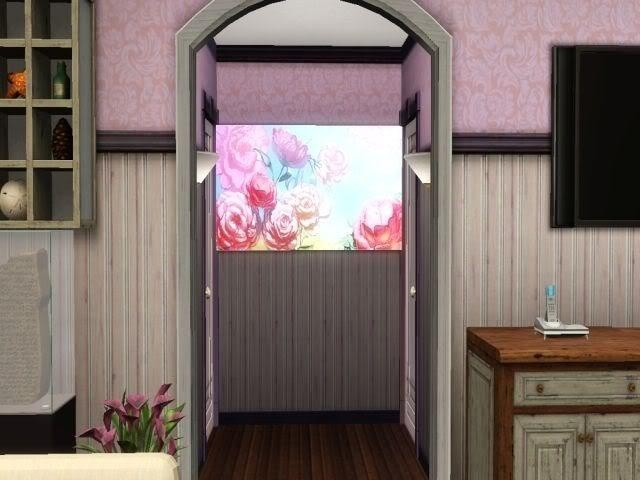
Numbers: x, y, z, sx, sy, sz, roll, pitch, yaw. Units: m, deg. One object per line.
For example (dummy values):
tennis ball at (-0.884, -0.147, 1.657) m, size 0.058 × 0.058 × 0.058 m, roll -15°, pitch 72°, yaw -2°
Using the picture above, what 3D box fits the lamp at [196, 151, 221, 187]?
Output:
lamp at (-0.644, -0.411, 3.609) m, size 0.146 × 0.132 × 0.171 m, roll 1°, pitch 3°, yaw -5°

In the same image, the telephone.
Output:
telephone at (1.258, 0.370, 3.271) m, size 0.276 × 0.273 × 0.295 m, roll -2°, pitch -8°, yaw 23°

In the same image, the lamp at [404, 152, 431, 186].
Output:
lamp at (0.571, -0.406, 3.657) m, size 0.159 × 0.149 × 0.185 m, roll 0°, pitch 5°, yaw -1°

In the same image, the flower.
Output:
flower at (-0.842, 0.843, 2.845) m, size 0.407 × 0.337 × 0.289 m, roll 0°, pitch -2°, yaw 1°
